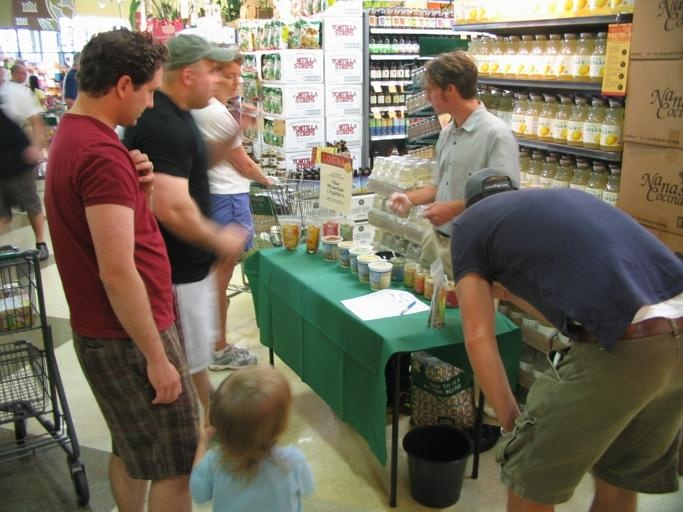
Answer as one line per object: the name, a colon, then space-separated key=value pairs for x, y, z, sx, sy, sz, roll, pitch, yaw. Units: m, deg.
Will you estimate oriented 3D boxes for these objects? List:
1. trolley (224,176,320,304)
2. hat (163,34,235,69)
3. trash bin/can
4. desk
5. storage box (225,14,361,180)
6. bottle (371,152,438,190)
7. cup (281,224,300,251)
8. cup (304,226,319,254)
trolley: x=-0.519 y=-0.295 z=4.979 sx=0.903 sy=0.917 sz=0.518 roll=-4 pitch=14 yaw=-20
hat: x=-0.811 y=-1.124 z=2.999 sx=0.438 sy=0.169 sz=0.278 roll=-9 pitch=27 yaw=-19
trash bin/can: x=0.534 y=1.167 z=3.233 sx=0.408 sy=0.318 sz=0.424 roll=-7 pitch=21 yaw=-11
desk: x=0.215 y=0.449 z=3.505 sx=1.161 sy=0.893 sz=2.413 roll=-8 pitch=24 yaw=-27
storage box: x=-0.492 y=-1.861 z=6.419 sx=1.196 sy=2.117 sz=2.126 roll=-7 pitch=20 yaw=-22
bottle: x=0.463 y=-0.643 z=4.281 sx=0.343 sy=0.175 sz=0.341 roll=-1 pitch=17 yaw=0
cup: x=-0.380 y=-0.141 z=4.080 sx=0.174 sy=0.205 sz=0.172 roll=1 pitch=2 yaw=0
cup: x=-0.208 y=-0.109 z=3.991 sx=0.162 sy=0.227 sz=0.165 roll=1 pitch=6 yaw=0
